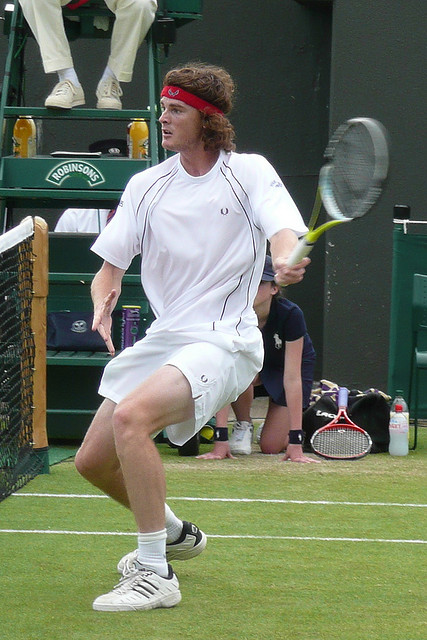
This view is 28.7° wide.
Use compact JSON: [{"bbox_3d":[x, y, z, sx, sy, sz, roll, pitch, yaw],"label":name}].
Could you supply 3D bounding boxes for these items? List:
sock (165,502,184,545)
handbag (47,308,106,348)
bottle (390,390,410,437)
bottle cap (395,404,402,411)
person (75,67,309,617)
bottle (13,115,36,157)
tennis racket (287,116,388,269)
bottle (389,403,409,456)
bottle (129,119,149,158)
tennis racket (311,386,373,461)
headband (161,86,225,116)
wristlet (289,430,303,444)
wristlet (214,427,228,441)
[{"bbox_3d":[-0.123,0.659,2.708,0.061,0.106,0.128,2,0,-2],"label":"sock"},{"bbox_3d":[-0.833,0.063,5.041,0.293,0.152,0.105,1,-13,0],"label":"handbag"},{"bbox_3d":[1.195,0.577,5.396,0.099,0.238,0.094,12,-20,4],"label":"bottle"},{"bbox_3d":[1.205,0.556,5.323,0.044,0.033,0.040,1,2,-12],"label":"bottle cap"},{"bbox_3d":[-0.083,0.021,2.518,0.684,1.344,0.671,2,1,3],"label":"person"},{"bbox_3d":[-1.280,-1.212,5.640,0.151,0.209,0.279,2,0,-13],"label":"bottle"},{"bbox_3d":[0.301,-0.325,2.129,0.231,0.354,0.323,2,0,-12],"label":"tennis racket"},{"bbox_3d":[1.226,0.702,5.398,0.120,0.310,0.181,2,1,11],"label":"bottle"},{"bbox_3d":[-0.506,-1.204,5.583,0.172,0.200,0.072,2,1,31],"label":"bottle"},{"bbox_3d":[0.826,0.627,5.220,0.366,0.046,0.616,2,39,9],"label":"tennis racket"},{"bbox_3d":[-0.056,-0.694,2.665,0.140,0.095,0.158,10,19,33],"label":"headband"},{"bbox_3d":[0.501,0.683,4.870,0.068,0.055,0.082,1,0,4],"label":"wristlet"},{"bbox_3d":[0.059,0.685,5.061,0.094,0.085,0.092,-1,0,4],"label":"wristlet"}]
